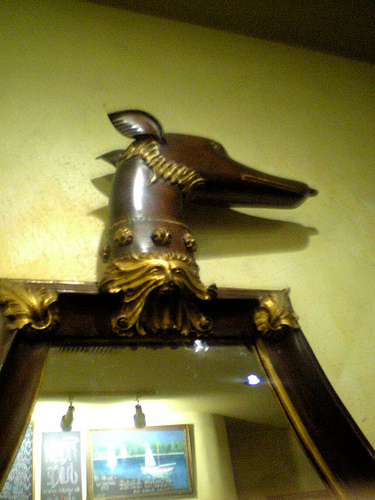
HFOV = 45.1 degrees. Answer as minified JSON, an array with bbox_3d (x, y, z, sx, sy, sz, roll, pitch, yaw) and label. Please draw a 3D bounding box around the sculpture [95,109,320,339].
[{"bbox_3d":[0.047,-0.050,0.816,0.446,0.394,0.191,6,-28,-17],"label":"sculpture"}]
